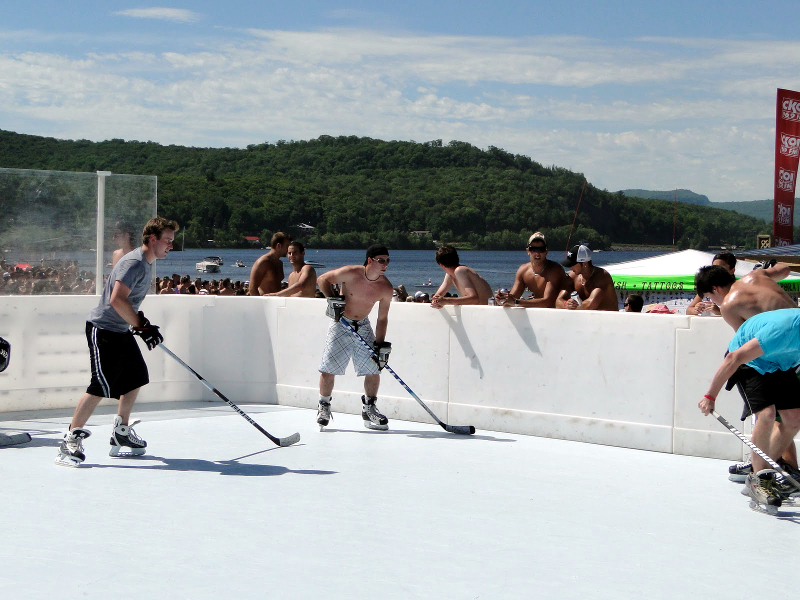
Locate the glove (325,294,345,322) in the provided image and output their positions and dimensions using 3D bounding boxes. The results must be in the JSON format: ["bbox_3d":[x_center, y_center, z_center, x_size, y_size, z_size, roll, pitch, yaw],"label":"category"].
[{"bbox_3d":[-0.638,0.111,11.025,0.183,0.263,0.122,0,12,-5],"label":"glove"}]

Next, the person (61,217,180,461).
[{"bbox_3d":[-2.496,0.417,9.794,0.727,2.198,1.151,9,15,34],"label":"person"}]

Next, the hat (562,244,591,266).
[{"bbox_3d":[2.036,-0.480,12.628,0.308,0.169,0.217,0,7,23],"label":"hat"}]

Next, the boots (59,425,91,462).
[{"bbox_3d":[-2.892,1.310,9.687,0.264,0.342,0.283,-4,13,-19],"label":"boots"}]

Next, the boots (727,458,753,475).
[{"bbox_3d":[2.939,1.500,9.463,0.234,0.099,0.078,-3,51,12],"label":"boots"}]

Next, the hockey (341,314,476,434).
[{"bbox_3d":[0.138,0.775,11.322,1.679,0.238,0.143,37,61,10],"label":"hockey"}]

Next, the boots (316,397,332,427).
[{"bbox_3d":[-0.773,1.181,11.172,0.226,0.305,0.670,3,-7,-6],"label":"boots"}]

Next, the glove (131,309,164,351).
[{"bbox_3d":[-2.224,0.266,9.669,0.330,0.273,0.112,47,43,9],"label":"glove"}]

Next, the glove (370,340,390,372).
[{"bbox_3d":[-0.192,0.597,11.079,0.166,0.310,0.222,0,12,-1],"label":"glove"}]

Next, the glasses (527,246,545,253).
[{"bbox_3d":[1.504,-0.525,12.001,0.190,0.064,0.066,-4,13,-23],"label":"glasses"}]
